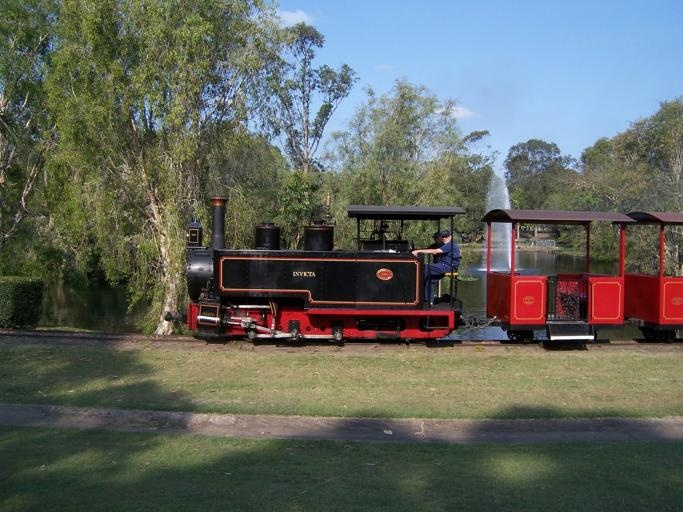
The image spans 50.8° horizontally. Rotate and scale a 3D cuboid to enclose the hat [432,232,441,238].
[{"bbox_3d":[2.579,-0.569,19.516,0.203,0.157,0.299,3,8,25],"label":"hat"}]
